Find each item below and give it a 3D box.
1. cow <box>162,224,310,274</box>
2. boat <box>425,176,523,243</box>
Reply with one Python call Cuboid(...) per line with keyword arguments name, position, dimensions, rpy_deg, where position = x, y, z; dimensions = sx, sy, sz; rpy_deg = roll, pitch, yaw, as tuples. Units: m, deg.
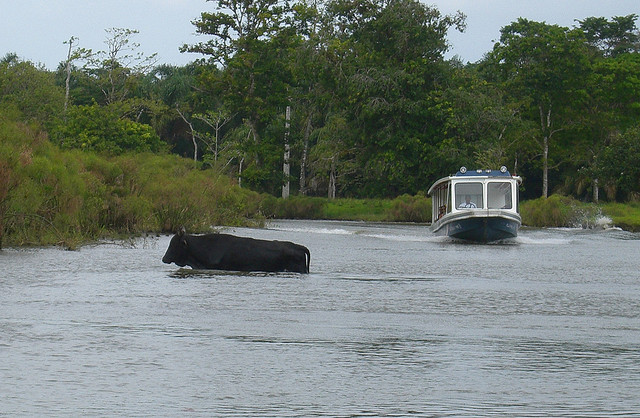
Cuboid(name="cow", position=(-3.725, 2.748, 55.353), dimensions=(6.820, 3.480, 1.435), rpy_deg=(1, 15, -11))
Cuboid(name="boat", position=(9.671, -0.203, 72.524), dimensions=(5.646, 3.790, 11.819), rpy_deg=(1, 2, 3))
